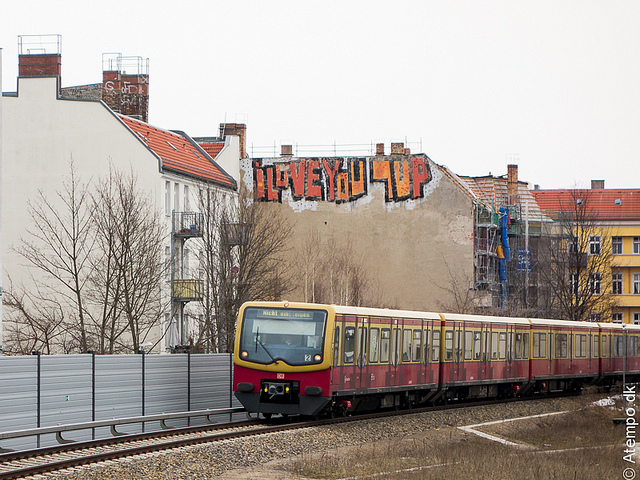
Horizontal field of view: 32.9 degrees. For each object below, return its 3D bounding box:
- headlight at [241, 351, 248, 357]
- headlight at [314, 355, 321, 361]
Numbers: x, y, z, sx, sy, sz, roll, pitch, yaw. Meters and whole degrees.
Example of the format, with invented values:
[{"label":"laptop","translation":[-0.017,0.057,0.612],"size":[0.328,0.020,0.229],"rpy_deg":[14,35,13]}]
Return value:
[{"label":"headlight","translation":[-2.417,3.687,34.745],"size":[0.127,0.162,0.034],"rpy_deg":[-2,-9,-1]},{"label":"headlight","translation":[-0.081,3.727,34.062],"size":[0.203,0.184,0.052],"rpy_deg":[5,4,1]}]
